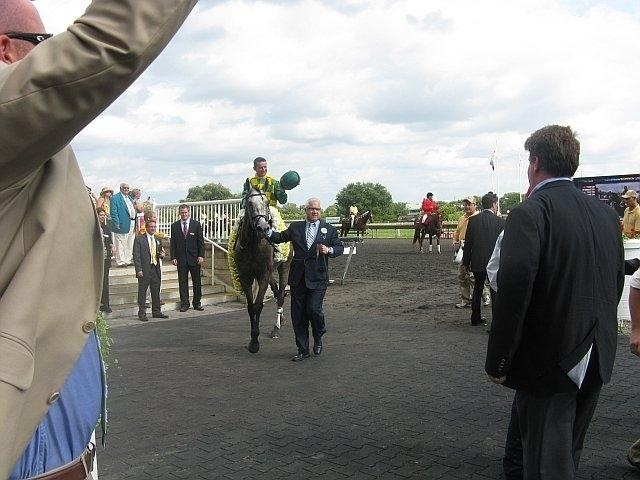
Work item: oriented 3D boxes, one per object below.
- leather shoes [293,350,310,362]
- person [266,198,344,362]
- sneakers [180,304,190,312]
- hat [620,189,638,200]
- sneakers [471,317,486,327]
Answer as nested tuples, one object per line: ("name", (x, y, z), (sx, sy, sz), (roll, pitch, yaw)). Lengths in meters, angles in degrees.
("leather shoes", (-0.306, 1.970, 7.611), (0.287, 0.129, 0.120), (4, -10, -43))
("person", (-0.173, 0.676, 7.924), (1.166, 2.659, 0.927), (-2, 0, 1))
("sneakers", (-4.006, 2.042, 13.400), (0.119, 0.215, 0.340), (0, -13, 5))
("hat", (8.626, -1.248, 12.506), (0.360, 0.190, 0.244), (1, 3, -20))
("sneakers", (3.541, 1.797, 9.958), (0.485, 0.151, 0.236), (-2, 0, -43))
